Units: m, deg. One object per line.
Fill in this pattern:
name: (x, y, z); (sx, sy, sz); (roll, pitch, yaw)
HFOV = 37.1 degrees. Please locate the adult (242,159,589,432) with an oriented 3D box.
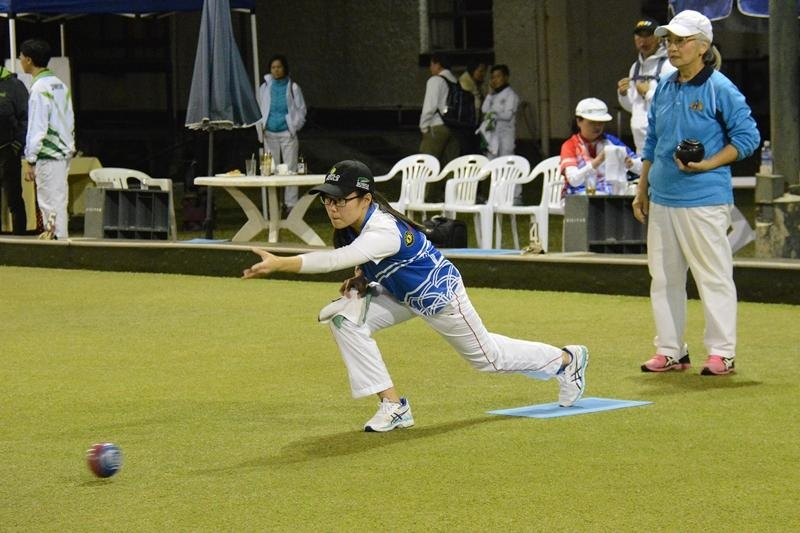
adult: (0.098, 0.177, 6.882); (2.084, 1.390, 0.708); (-1, 0, -17)

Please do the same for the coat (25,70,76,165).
coat: (-3.653, -1.563, 12.425); (0.283, 0.953, 0.596); (6, 16, 28)

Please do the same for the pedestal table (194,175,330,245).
pedestal table: (-1.208, -0.571, 12.773); (1.677, 0.715, 1.627); (3, 1, -28)

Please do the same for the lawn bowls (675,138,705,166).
lawn bowls: (1.801, -0.711, 7.414); (0.172, 0.146, 0.157); (3, 0, 0)

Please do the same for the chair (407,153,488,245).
chair: (0.312, -0.802, 12.682); (0.763, 0.952, 0.818); (0, -1, 41)

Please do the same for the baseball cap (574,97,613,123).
baseball cap: (1.587, -1.297, 9.915); (0.233, 0.145, 0.303); (-16, 19, -40)

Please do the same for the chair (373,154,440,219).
chair: (0.156, -0.764, 12.829); (0.702, 0.583, 0.672); (-4, 6, 12)

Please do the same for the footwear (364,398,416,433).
footwear: (-0.052, 0.842, 6.741); (0.344, 0.152, 0.124); (0, -2, -38)

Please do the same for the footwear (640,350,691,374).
footwear: (1.728, 0.625, 7.825); (0.345, 0.140, 0.124); (-1, 3, -20)

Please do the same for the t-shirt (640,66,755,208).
t-shirt: (1.898, -0.835, 7.704); (0.515, 0.864, 0.925); (-9, 14, -26)

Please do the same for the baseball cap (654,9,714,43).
baseball cap: (1.781, -1.491, 7.464); (0.321, 0.149, 0.214); (4, 4, -12)

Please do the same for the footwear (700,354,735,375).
footwear: (2.019, 0.631, 7.592); (0.099, 0.100, 0.239); (-3, -5, 42)

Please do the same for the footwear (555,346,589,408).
footwear: (1.046, 0.628, 6.996); (0.144, 0.393, 0.194); (21, 28, 40)

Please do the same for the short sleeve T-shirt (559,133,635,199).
short sleeve T-shirt: (1.720, -0.914, 10.576); (0.576, 0.579, 0.606); (-5, 13, -20)

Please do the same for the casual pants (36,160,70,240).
casual pants: (-3.632, -0.713, 12.524); (0.349, 0.816, 0.539); (-5, 14, -13)

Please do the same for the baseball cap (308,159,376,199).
baseball cap: (-0.314, -0.473, 6.534); (0.308, 0.146, 0.192); (-1, 7, -30)

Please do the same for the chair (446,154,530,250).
chair: (0.880, -0.643, 12.112); (0.832, 0.857, 0.795); (-1, 12, -11)

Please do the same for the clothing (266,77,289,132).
clothing: (-1.561, -2.042, 15.199); (0.275, 0.688, 0.170); (-2, 14, 0)

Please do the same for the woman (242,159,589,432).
woman: (0.097, 0.178, 6.884); (2.088, 1.418, 0.700); (-1, 0, -17)

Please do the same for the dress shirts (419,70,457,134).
dress shirts: (0.492, -2.076, 15.074); (0.453, 0.792, 0.353); (-3, 14, -6)

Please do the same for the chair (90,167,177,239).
chair: (-3.008, -0.738, 12.785); (0.685, 0.792, 0.895); (12, -8, -37)

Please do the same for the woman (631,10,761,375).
woman: (1.832, -0.462, 7.676); (0.719, 2.256, 0.842); (-6, 8, -36)

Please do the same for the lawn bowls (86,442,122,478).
lawn bowls: (-1.551, 0.998, 6.220); (0.178, 0.198, 0.206); (-7, -13, 28)

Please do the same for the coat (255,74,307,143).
coat: (-1.471, -2.033, 15.397); (0.659, 0.787, 0.440); (1, 3, 36)

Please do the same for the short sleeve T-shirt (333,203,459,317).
short sleeve T-shirt: (0.048, -0.062, 6.715); (0.428, 0.470, 0.324); (-26, 22, -33)

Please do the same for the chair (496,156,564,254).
chair: (1.201, -0.617, 11.642); (0.666, 0.822, 0.676); (-2, 2, 14)
